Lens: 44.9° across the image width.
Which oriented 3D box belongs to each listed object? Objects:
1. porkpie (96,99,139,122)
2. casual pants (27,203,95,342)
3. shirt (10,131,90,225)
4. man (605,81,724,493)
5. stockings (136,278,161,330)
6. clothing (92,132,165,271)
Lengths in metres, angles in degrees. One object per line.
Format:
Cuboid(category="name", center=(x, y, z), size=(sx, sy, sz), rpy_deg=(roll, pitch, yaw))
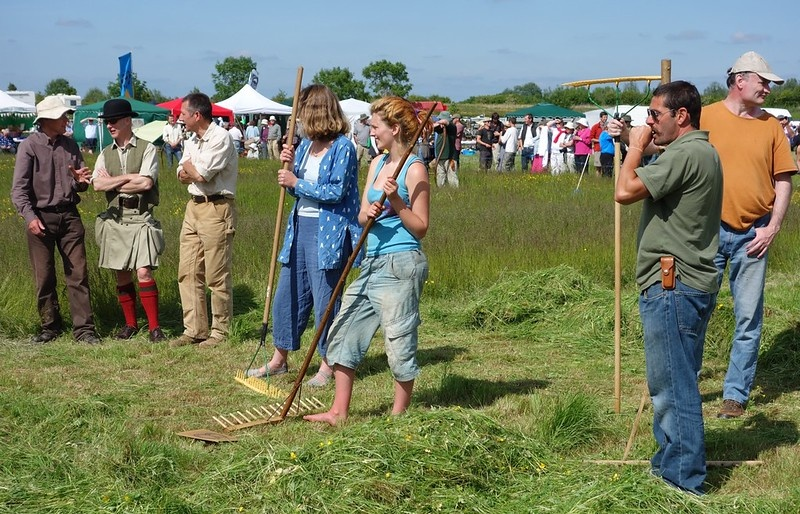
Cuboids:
Cuboid(category="porkpie", center=(-3.366, -1.801, 11.661), size=(0.367, 0.256, 0.423), rpy_deg=(-2, 8, -12))
Cuboid(category="casual pants", center=(-4.072, 0.183, 11.718), size=(0.741, 1.603, 0.415), rpy_deg=(-2, 8, -14))
Cuboid(category="shirt", center=(-4.210, -1.026, 11.725), size=(0.913, 1.057, 0.558), rpy_deg=(-7, 10, -42))
Cuboid(category="man", center=(2.334, 0.471, 8.436), size=(0.799, 3.214, 0.601), rpy_deg=(3, 8, 18))
Cuboid(category="stockings", center=(-3.096, 0.586, 11.999), size=(0.224, 0.669, 0.401), rpy_deg=(-2, 8, -17))
Cuboid(category="clothing", center=(-3.296, -0.656, 11.809), size=(0.791, 1.634, 0.400), rpy_deg=(-1, 8, -9))
